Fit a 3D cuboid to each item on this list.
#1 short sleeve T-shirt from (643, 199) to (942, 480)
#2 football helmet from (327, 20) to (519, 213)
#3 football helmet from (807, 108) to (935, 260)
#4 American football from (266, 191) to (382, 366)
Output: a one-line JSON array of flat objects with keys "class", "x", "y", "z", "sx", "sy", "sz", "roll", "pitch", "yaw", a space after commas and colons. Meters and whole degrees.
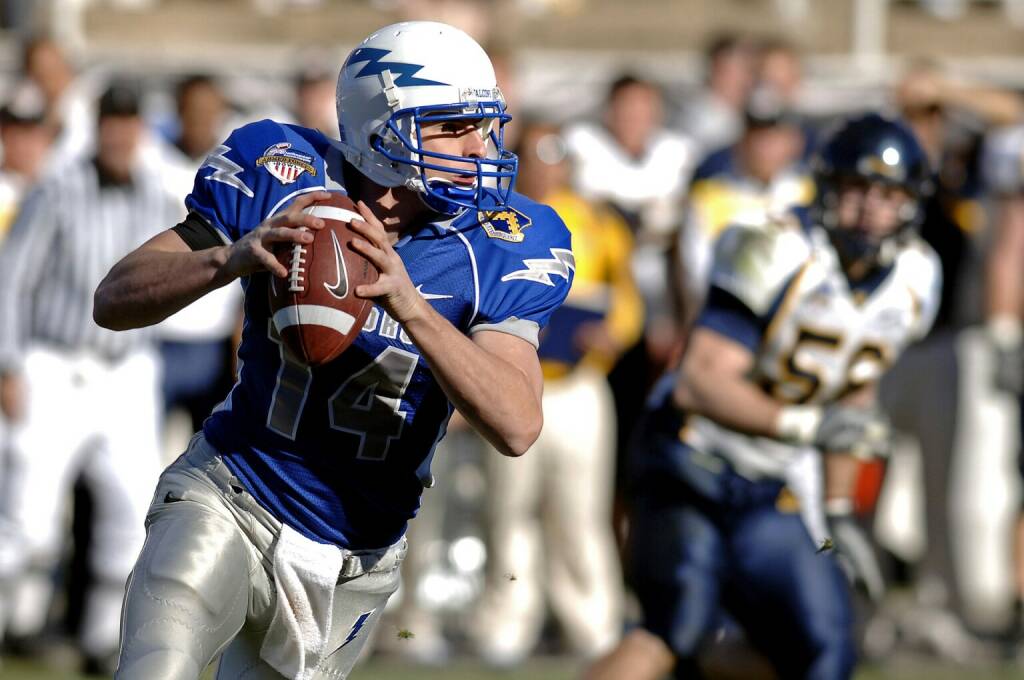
[{"class": "short sleeve T-shirt", "x": 1.159, "y": -0.017, "z": 6.536, "sx": 1.046, "sy": 1.047, "sz": 0.597, "roll": 26, "pitch": 13, "yaw": -46}, {"class": "football helmet", "x": -0.341, "y": -0.788, "z": 5.272, "sx": 0.712, "sy": 0.587, "sz": 0.540, "roll": 17, "pitch": 19, "yaw": 32}, {"class": "football helmet", "x": 1.569, "y": -0.665, "z": 6.680, "sx": 0.492, "sy": 0.599, "sz": 0.635, "roll": 14, "pitch": 1, "yaw": 1}, {"class": "American football", "x": -0.596, "y": -0.196, "z": 5.040, "sx": 0.337, "sy": 0.502, "sz": 0.312, "roll": 9, "pitch": 4, "yaw": -1}]
